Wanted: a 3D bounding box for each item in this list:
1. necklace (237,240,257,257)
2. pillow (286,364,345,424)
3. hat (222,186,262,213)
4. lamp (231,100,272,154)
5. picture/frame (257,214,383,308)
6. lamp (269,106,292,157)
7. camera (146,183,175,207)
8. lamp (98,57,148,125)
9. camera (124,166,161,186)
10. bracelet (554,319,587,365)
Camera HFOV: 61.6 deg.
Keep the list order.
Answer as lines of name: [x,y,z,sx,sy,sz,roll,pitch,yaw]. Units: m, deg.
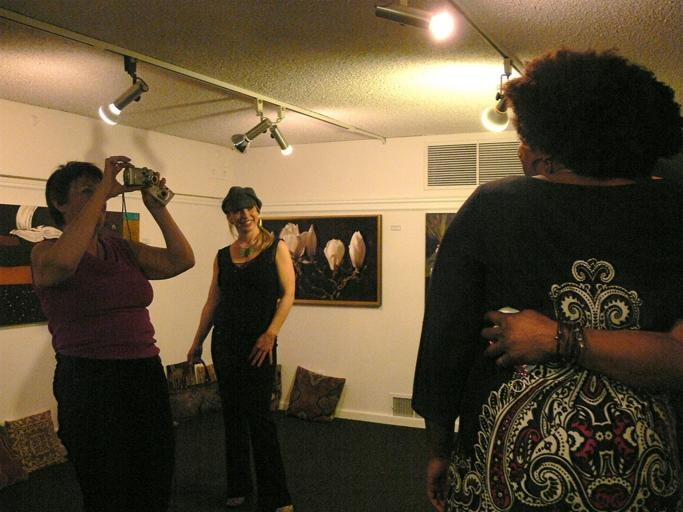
necklace: [-0.271,-0.020,1.633,0.049,0.047,0.011,2,0,2]
pillow: [-0.072,0.394,1.648,0.154,0.149,0.057,14,6,14]
hat: [-0.285,-0.157,1.631,0.108,0.076,0.032,0,5,-11]
lamp: [-0.272,-0.386,1.702,0.110,0.168,0.094,0,5,-17]
picture/frame: [-0.069,0.015,1.640,0.273,0.189,0.019,2,8,19]
lamp: [-0.182,-0.366,1.681,0.060,0.151,0.107,0,5,-13]
camera: [-0.506,-0.168,1.606,0.078,0.043,0.028,40,-11,-21]
lamp: [-0.637,-0.481,1.666,0.134,0.213,0.102,-1,5,-22]
camera: [-0.556,-0.216,1.588,0.091,0.054,0.035,-1,5,-24]
bracelet: [0.446,0.173,1.122,0.066,0.072,0.026,2,-2,16]
